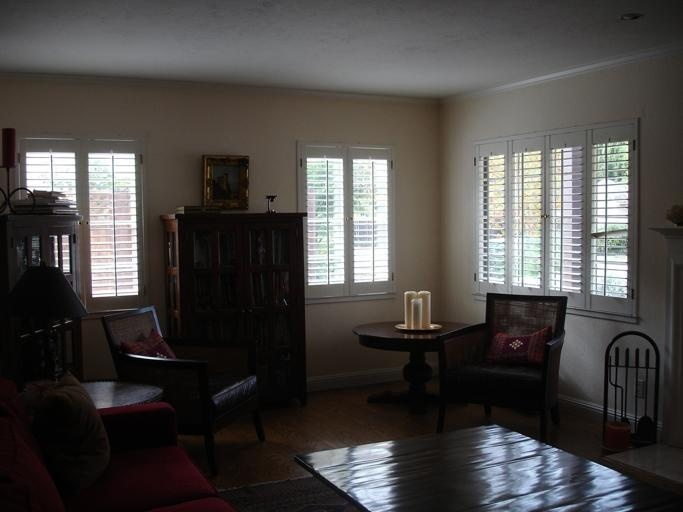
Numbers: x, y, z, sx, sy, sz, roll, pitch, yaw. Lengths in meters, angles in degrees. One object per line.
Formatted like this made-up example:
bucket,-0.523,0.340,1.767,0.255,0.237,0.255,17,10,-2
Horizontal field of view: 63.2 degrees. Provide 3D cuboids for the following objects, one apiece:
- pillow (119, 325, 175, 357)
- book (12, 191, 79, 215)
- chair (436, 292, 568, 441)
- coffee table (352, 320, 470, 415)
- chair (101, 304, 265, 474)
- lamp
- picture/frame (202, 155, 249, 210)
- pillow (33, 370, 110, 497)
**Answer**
pillow,-1.336,0.607,3.892,0.216,0.064,0.207,34,17,26
book,-1.993,-0.344,3.742,0.294,0.098,0.233,-2,4,-42
chair,1.305,0.817,4.286,0.936,1.013,0.912,1,-1,-34
coffee table,0.588,0.941,4.701,0.840,0.510,0.833,0,-1,-40
chair,-1.121,0.890,3.953,1.031,1.015,0.865,-1,2,1
lamp,-1.799,0.428,3.342,0.377,0.756,0.612,-5,6,-37
picture/frame,-1.057,-0.652,4.949,0.523,0.596,0.061,0,0,-24
pillow,-1.308,0.826,2.701,0.327,0.464,0.559,0,2,-33
